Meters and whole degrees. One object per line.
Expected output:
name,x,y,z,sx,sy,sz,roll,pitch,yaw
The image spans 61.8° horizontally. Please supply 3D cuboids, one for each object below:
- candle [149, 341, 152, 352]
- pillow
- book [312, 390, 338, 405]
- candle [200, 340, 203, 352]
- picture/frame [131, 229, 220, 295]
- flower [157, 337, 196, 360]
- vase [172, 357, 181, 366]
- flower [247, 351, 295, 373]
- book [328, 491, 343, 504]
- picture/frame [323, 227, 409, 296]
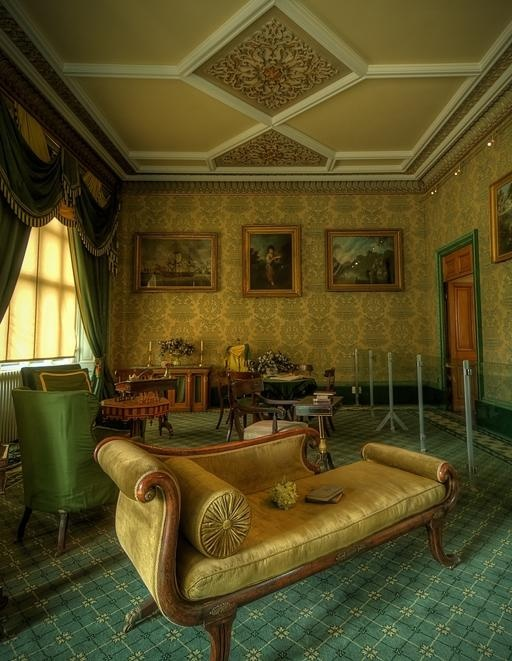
candle,-1.968,0.299,8.036,0.046,0.166,0.120,1,8,-17
pillow,-0.216,0.709,1.765,0.232,0.251,0.430,-2,9,-32
book,0.613,0.613,3.875,0.203,0.066,0.190,0,-5,5
candle,-1.013,0.288,8.051,0.064,0.191,0.112,2,8,-11
picture/frame,-1.529,-1.264,8.133,1.245,0.842,0.052,0,3,3
flower,-1.450,0.342,7.824,0.472,0.320,0.468,-1,-6,29
vase,-1.461,0.587,7.885,0.139,0.209,0.135,1,5,-20
flower,0.286,0.528,6.789,0.462,0.262,0.455,3,1,2
book,0.390,0.827,2.118,0.054,0.012,0.053,-26,11,-25
picture/frame,2.023,-1.284,8.162,1.356,1.079,0.095,0,-1,-1
